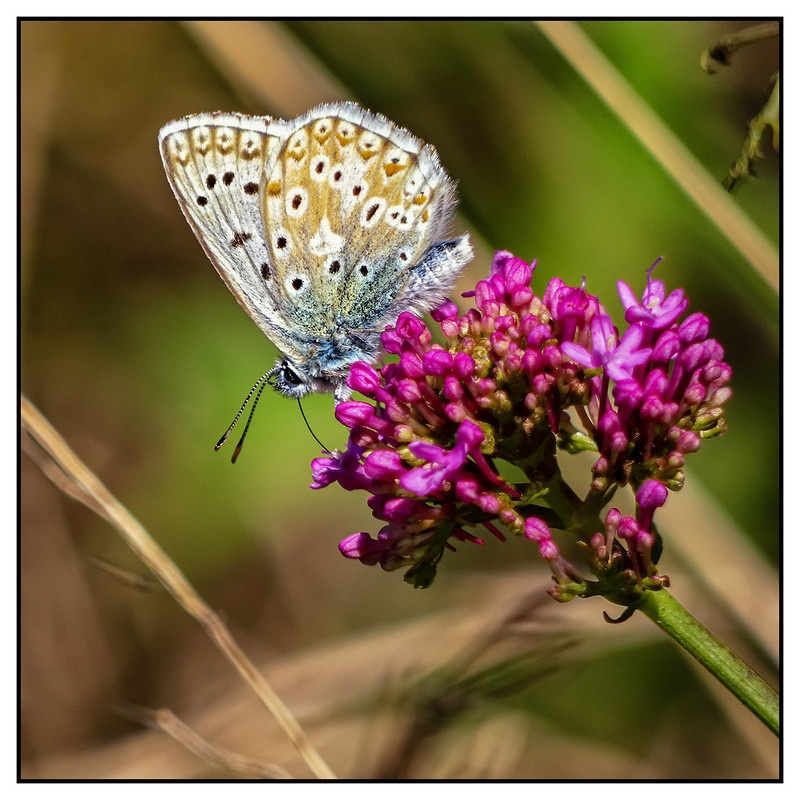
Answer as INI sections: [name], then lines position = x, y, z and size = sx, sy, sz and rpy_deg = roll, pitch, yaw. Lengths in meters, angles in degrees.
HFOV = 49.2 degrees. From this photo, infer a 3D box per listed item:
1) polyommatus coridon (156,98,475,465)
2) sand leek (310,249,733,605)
[polyommatus coridon]
position = -0.612, -0.907, 5.485
size = 1.891, 2.464, 1.365
rpy_deg = -24, 11, -33
[sand leek]
position = 0.664, 0.139, 4.237
size = 1.215, 2.097, 1.407
rpy_deg = 3, -8, 13
